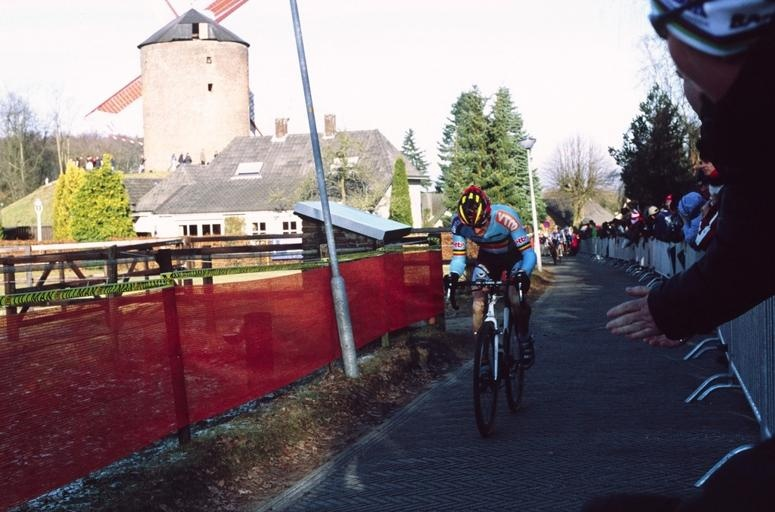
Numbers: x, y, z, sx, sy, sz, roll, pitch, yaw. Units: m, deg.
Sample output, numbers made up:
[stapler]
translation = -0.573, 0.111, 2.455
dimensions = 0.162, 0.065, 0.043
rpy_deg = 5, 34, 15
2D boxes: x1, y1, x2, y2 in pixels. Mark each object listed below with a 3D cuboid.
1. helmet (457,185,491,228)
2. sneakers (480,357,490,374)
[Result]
[helmet]
translation = 1.058, -0.617, 7.323
dimensions = 0.367, 0.513, 0.437
rpy_deg = -3, -17, 18
[sneakers]
translation = 1.048, 1.188, 6.559
dimensions = 0.112, 0.136, 0.151
rpy_deg = -4, 1, 1
